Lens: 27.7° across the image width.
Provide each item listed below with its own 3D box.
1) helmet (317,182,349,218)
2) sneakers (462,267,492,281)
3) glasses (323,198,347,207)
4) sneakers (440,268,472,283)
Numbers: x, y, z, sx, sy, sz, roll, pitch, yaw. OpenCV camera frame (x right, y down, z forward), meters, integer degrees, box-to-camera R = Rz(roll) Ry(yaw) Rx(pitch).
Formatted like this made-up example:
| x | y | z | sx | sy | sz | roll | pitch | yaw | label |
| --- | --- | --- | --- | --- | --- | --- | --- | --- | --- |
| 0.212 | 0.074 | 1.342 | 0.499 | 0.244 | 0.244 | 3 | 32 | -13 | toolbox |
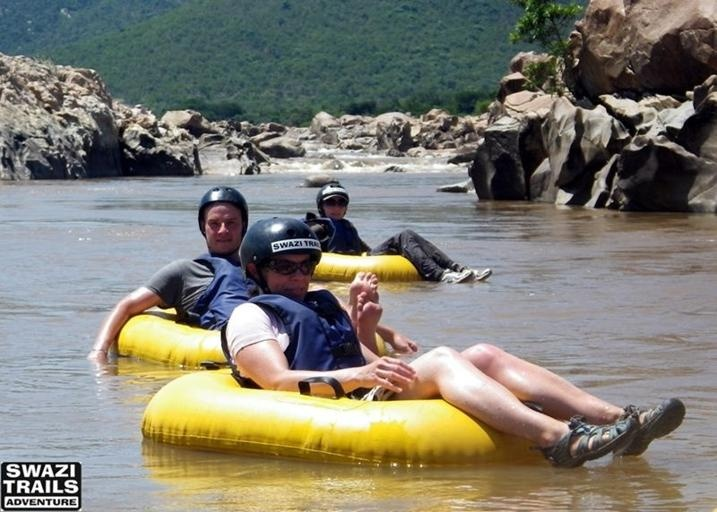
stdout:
| x | y | z | sx | sy | sz | roll | pitch | yaw | label |
| --- | --- | --- | --- | --- | --- | --- | --- | --- | --- |
| -0.409 | -1.044 | 25.038 | 0.514 | 0.466 | 0.633 | -2 | 27 | -9 | helmet |
| 2.068 | 0.332 | 24.908 | 0.528 | 0.208 | 0.174 | -6 | 5 | 2 | sneakers |
| -0.372 | -0.911 | 24.789 | 0.410 | 0.168 | 0.159 | -2 | 8 | -7 | glasses |
| 1.724 | 0.345 | 24.920 | 0.581 | 0.237 | 0.201 | -11 | -9 | 31 | sneakers |
